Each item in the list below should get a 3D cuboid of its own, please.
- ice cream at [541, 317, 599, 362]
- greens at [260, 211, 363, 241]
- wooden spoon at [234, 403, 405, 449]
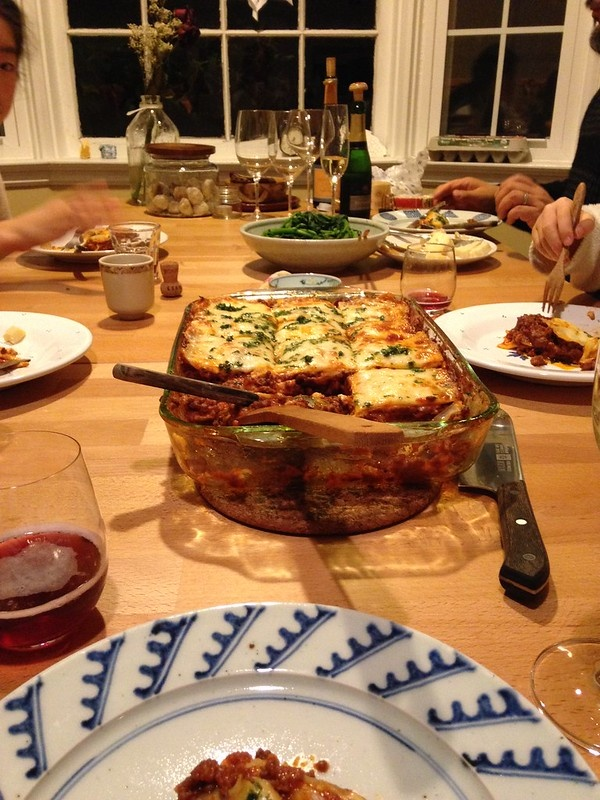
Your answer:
[{"bbox_3d":[0.452,-0.108,1.081,0.087,0.070,0.088,-5,17,-21],"label":"ice cream"},{"bbox_3d":[0.038,-0.463,1.720,0.249,0.079,0.224,1,18,2],"label":"greens"},{"bbox_3d":[0.011,0.006,0.549,0.041,0.026,0.204,-26,15,-22],"label":"wooden spoon"}]
